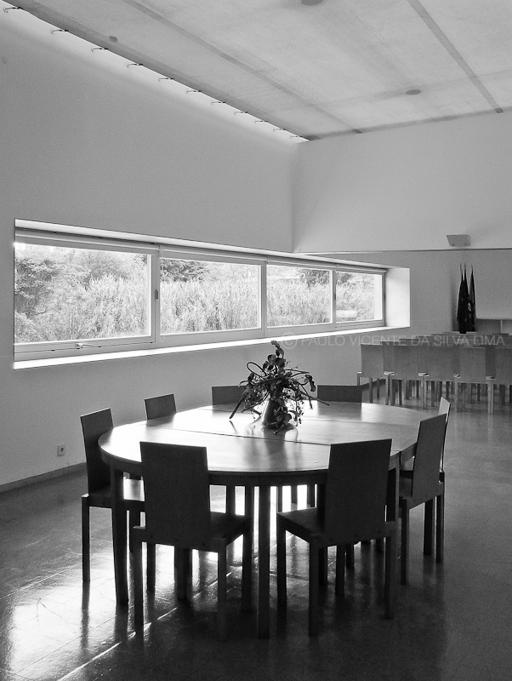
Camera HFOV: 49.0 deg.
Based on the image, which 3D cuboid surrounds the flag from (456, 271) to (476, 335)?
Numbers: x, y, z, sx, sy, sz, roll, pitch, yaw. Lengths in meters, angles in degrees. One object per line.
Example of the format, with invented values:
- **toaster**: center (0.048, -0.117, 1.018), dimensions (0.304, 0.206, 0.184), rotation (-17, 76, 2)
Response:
- **flag**: center (4.238, -0.875, 11.311), dimensions (0.307, 1.385, 3.120), rotation (-1, -1, 21)

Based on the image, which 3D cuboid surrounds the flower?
- **flower**: center (0.104, 0.245, 2.976), dimensions (0.334, 0.397, 0.473), rotation (3, 8, 34)
